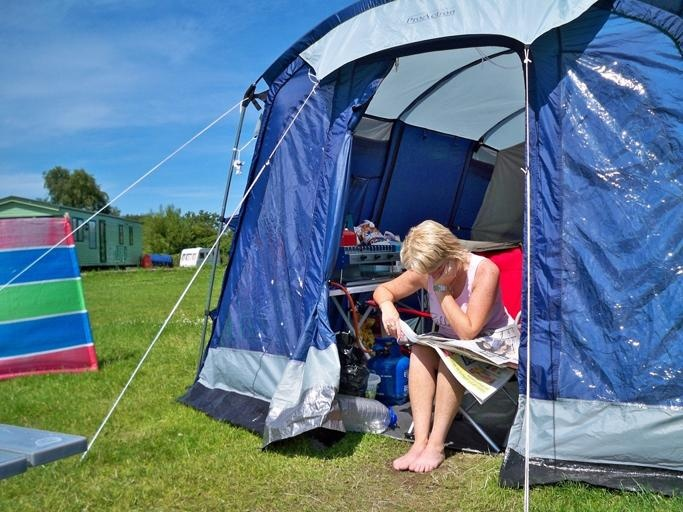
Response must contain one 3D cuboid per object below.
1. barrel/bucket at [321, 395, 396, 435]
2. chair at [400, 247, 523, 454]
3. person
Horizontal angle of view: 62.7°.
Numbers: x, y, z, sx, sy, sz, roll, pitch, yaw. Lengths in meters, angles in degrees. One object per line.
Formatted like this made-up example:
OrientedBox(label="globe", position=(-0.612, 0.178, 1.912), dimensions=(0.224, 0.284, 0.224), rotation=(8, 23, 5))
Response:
OrientedBox(label="barrel/bucket", position=(0.141, 1.026, 3.600), dimensions=(0.331, 0.135, 0.280), rotation=(9, 17, -13))
OrientedBox(label="chair", position=(0.897, 0.538, 4.490), dimensions=(1.100, 1.643, 1.143), rotation=(-2, -8, 42))
OrientedBox(label="person", position=(0.623, 0.465, 3.400), dimensions=(0.768, 1.380, 0.667), rotation=(-2, 8, -8))
